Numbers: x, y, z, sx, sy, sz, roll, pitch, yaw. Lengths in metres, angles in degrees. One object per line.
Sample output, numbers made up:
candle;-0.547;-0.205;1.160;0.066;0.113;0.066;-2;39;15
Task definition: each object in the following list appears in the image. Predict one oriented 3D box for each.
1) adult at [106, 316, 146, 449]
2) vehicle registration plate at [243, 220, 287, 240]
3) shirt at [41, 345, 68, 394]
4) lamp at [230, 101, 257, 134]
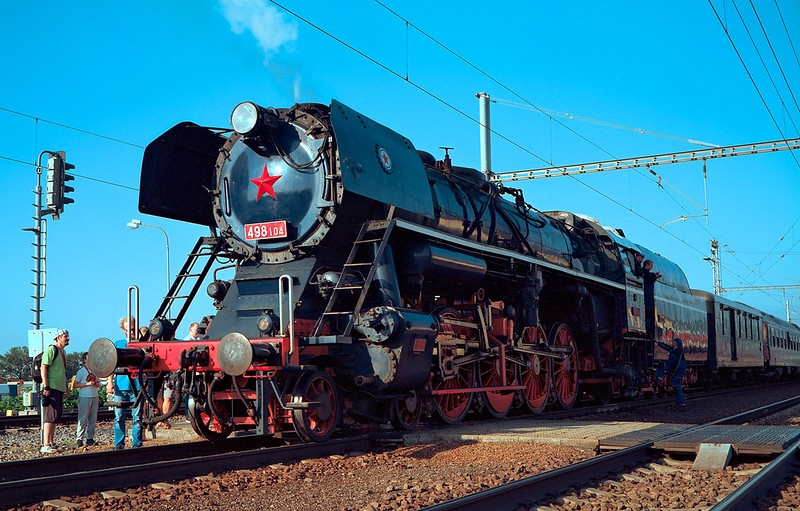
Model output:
adult;-5.044;2.395;12.291;0.592;2.478;1.795;1;-4;-23
vehicle registration plate;-2.451;-0.427;12.203;0.961;0.323;0.105;-3;-4;29
shirt;-6.346;2.123;12.371;0.284;0.907;0.658;-1;-4;8
lamp;-2.795;-2.443;11.936;0.592;0.526;0.275;-4;-5;39
